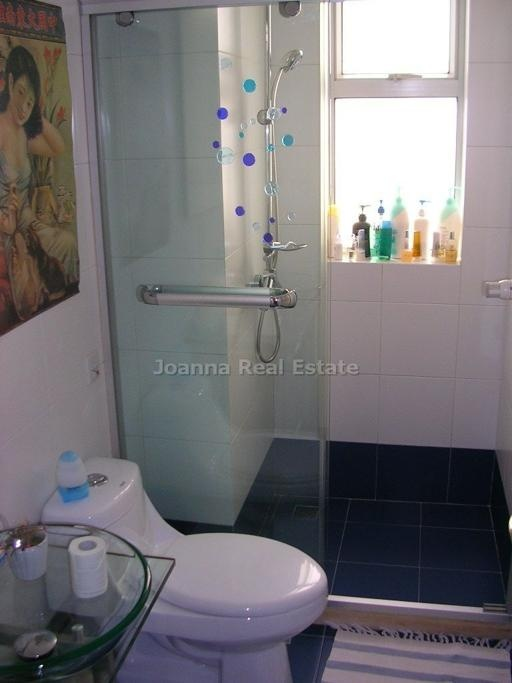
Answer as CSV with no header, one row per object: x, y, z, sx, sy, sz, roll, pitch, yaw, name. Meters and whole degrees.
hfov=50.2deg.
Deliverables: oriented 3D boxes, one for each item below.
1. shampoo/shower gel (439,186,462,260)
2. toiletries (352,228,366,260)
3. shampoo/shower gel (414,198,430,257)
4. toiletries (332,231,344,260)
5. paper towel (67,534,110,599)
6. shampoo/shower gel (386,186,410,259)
0.844,-0.480,2.383,0.088,0.263,0.047,0,12,14,shampoo/shower gel
0.477,-0.445,2.542,0.061,0.135,0.049,4,13,30,toiletries
0.752,-0.505,2.485,0.061,0.253,0.116,1,12,18,shampoo/shower gel
0.384,-0.436,2.549,0.052,0.120,0.052,-8,13,-24,toiletries
-0.307,0.403,0.998,0.064,0.090,0.057,-2,25,-10,paper towel
0.640,-0.537,2.490,0.082,0.303,0.093,3,21,9,shampoo/shower gel
